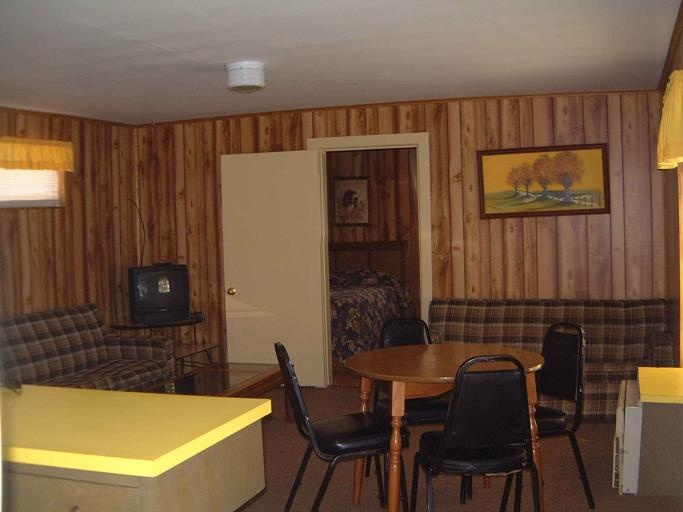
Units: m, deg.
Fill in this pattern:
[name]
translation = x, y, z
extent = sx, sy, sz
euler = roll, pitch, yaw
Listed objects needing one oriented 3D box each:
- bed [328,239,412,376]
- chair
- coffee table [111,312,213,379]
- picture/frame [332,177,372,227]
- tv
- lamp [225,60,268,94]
[bed]
translation = 0.052, 0.489, 7.635
extent = 1.272, 1.216, 1.951
euler = 2, 5, 24
[chair]
translation = 0.519, 0.983, 3.499
extent = 1.369, 0.847, 1.388
euler = 0, -2, -3
[coffee table]
translation = -1.758, 0.896, 6.041
extent = 0.680, 0.866, 0.931
euler = 0, 1, 24
[picture/frame]
translation = 0.186, -0.798, 8.685
extent = 0.713, 0.891, 0.091
euler = 1, 3, 16
[tv]
translation = -1.846, 0.384, 5.952
extent = 0.556, 0.604, 0.320
euler = -2, 0, -35
[lamp]
translation = -0.703, -1.289, 4.301
extent = 0.318, 0.202, 0.340
euler = -4, 8, 10
